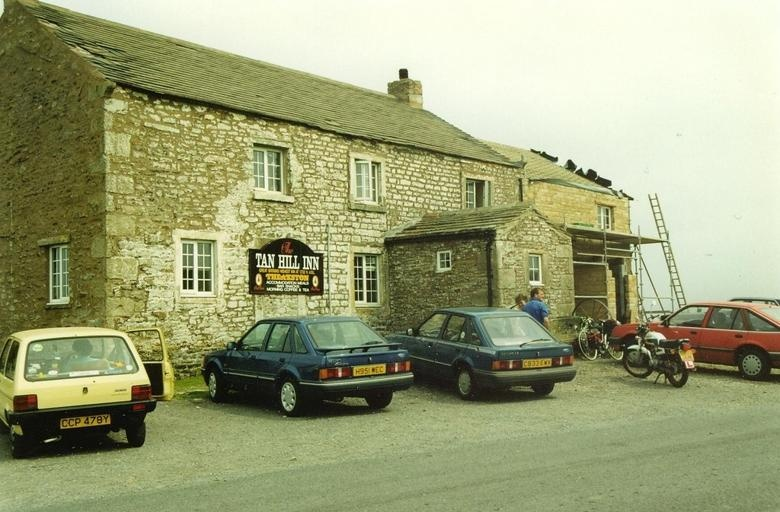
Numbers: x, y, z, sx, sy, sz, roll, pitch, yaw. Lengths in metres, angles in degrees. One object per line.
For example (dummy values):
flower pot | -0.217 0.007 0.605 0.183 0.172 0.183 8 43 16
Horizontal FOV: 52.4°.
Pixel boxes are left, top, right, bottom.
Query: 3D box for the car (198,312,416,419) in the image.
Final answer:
car | -1.968 2.305 17.233 3.452 1.191 2.173 1 -1 42

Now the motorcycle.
motorcycle | 6.632 2.462 19.735 0.883 1.423 2.833 -4 1 -11
